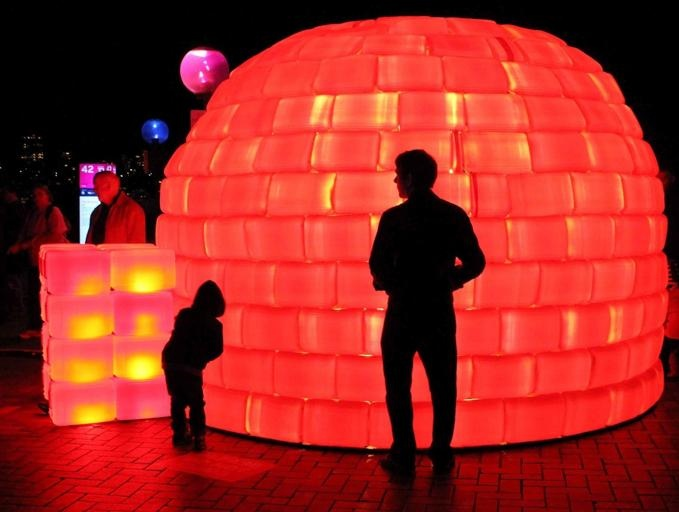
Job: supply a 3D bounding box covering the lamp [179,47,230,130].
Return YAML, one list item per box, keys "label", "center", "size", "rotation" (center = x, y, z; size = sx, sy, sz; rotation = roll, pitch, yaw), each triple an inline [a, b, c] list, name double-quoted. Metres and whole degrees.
- label: "lamp"
  center: [-1.340, -1.746, 8.327]
  size: [0.511, 0.520, 0.319]
  rotation: [1, 8, 14]

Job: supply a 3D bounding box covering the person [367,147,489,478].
- label: "person"
  center: [0.551, 0.351, 5.331]
  size: [0.688, 2.002, 0.303]
  rotation: [0, 8, 6]

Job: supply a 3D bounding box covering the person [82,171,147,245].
- label: "person"
  center: [-1.995, -0.438, 7.715]
  size: [0.705, 0.652, 0.344]
  rotation: [6, 10, 41]

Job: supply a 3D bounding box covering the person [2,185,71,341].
- label: "person"
  center: [-3.441, 0.061, 9.789]
  size: [0.488, 1.744, 0.982]
  rotation: [-8, 10, -44]

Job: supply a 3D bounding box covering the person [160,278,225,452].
- label: "person"
  center: [-0.984, 0.734, 5.872]
  size: [0.427, 1.122, 0.331]
  rotation: [-3, 8, -18]
